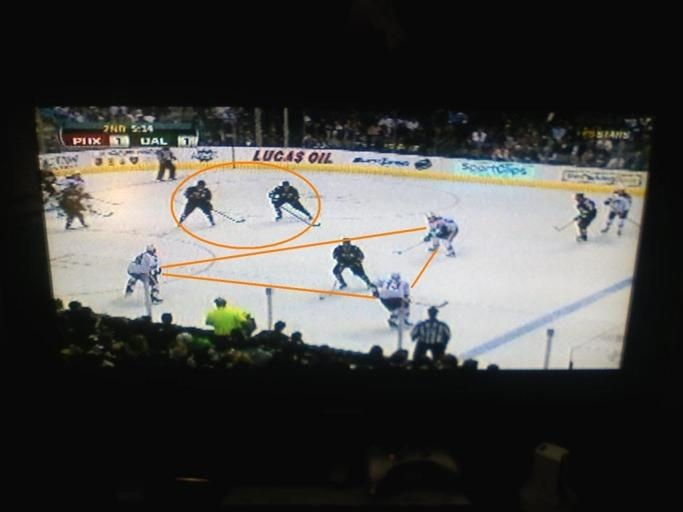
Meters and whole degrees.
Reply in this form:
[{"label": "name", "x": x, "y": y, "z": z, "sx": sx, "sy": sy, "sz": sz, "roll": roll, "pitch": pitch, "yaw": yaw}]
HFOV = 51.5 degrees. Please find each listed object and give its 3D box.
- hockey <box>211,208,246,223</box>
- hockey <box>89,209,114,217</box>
[{"label": "hockey", "x": -0.693, "y": -0.245, "z": 4.365, "sx": 0.220, "sy": 0.069, "sz": 0.023, "roll": 17, "pitch": -11, "yaw": -11}, {"label": "hockey", "x": -1.473, "y": -0.259, "z": 4.344, "sx": 0.139, "sy": 0.045, "sz": 0.015, "roll": 1, "pitch": 13, "yaw": 1}]
